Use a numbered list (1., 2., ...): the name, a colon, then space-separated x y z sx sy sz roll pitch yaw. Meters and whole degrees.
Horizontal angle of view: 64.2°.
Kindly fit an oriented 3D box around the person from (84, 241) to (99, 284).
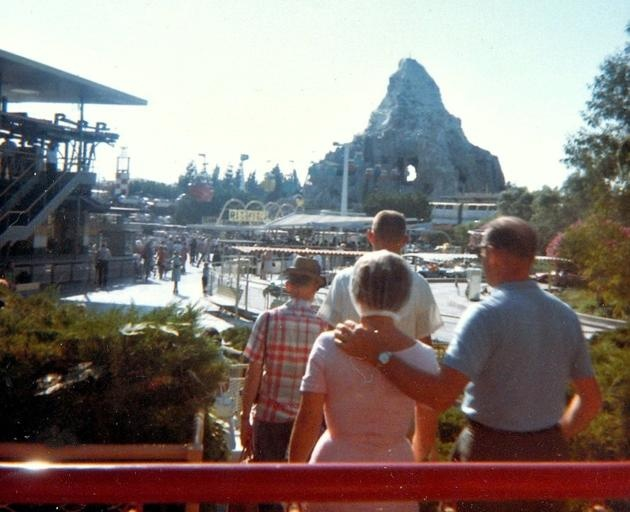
1. person: -10.848 0.176 24.023 0.512 1.979 0.453 6 15 -20

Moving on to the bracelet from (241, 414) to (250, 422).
1. bracelet: -0.494 1.134 3.504 0.060 0.071 0.064 3 -3 3

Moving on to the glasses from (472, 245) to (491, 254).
1. glasses: 0.875 -0.039 2.645 0.048 0.027 0.071 -2 -7 -4

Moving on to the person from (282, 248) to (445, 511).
1. person: 0.241 0.553 2.229 0.696 1.164 0.548 1 -3 -3

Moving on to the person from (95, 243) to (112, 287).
1. person: -8.407 0.344 19.776 0.476 1.771 1.265 2 -3 -24
